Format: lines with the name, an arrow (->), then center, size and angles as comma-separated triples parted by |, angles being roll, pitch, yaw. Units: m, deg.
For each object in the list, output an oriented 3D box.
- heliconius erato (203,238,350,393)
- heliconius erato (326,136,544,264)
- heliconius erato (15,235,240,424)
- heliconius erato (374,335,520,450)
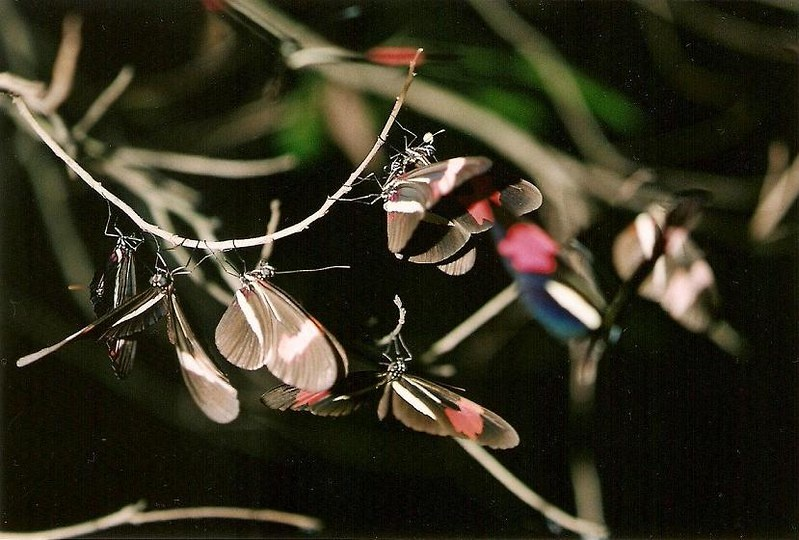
heliconius erato -> -0.201, 0.090, 1.640 | 0.214, 0.107, 0.206 | -22, 42, -14
heliconius erato -> 0.084, -0.156, 1.731 | 0.307, 0.193, 0.240 | -33, 78, -8
heliconius erato -> -0.424, 0.089, 1.787 | 0.190, 0.325, 0.365 | 7, 16, -35
heliconius erato -> 0.069, 0.268, 1.770 | 0.296, 0.040, 0.141 | 39, 78, 9
